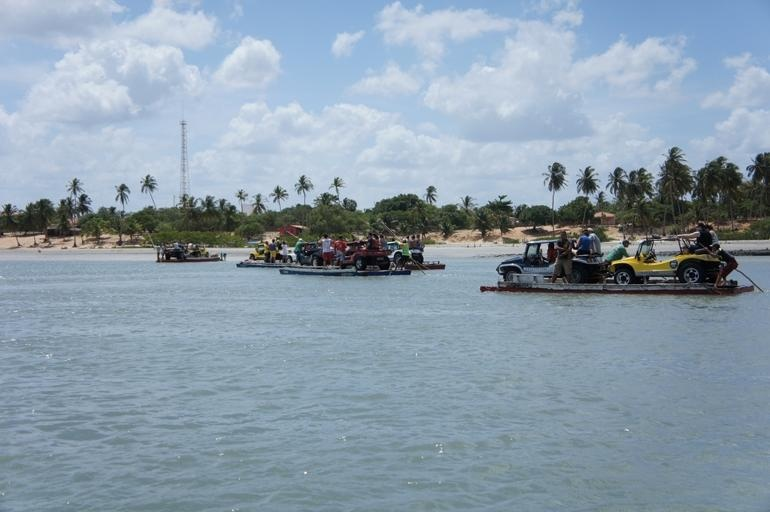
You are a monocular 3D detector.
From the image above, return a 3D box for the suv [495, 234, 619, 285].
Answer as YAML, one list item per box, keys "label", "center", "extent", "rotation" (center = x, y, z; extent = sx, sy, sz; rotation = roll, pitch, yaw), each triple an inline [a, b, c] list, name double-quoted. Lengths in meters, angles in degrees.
- label: "suv"
  center: [6.537, 0.164, 30.892]
  extent: [3.934, 1.482, 2.115]
  rotation: [-3, 12, 13]

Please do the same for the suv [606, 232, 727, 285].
- label: "suv"
  center: [10.741, 0.245, 29.136]
  extent: [3.370, 1.344, 1.866]
  rotation: [0, -2, 22]
